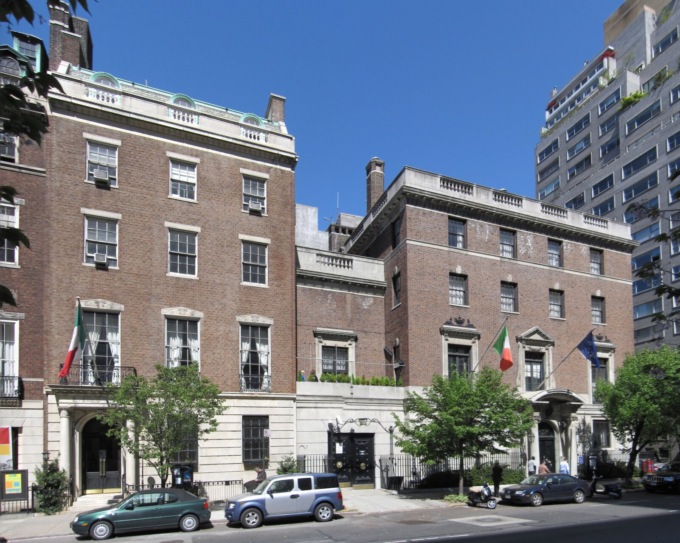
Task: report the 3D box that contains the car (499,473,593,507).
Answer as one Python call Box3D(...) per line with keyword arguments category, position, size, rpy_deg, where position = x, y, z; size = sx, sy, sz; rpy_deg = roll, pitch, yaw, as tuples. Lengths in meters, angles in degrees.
Box3D(category="car", position=(11.801, 12.352, 62.962), size=(4.723, 1.845, 0.977), rpy_deg=(4, -19, -19))

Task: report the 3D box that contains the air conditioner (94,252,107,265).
Box3D(category="air conditioner", position=(-13.586, -0.796, 63.311), size=(0.816, 0.672, 0.344), rpy_deg=(6, -20, -24))

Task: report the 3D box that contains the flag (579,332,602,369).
Box3D(category="flag", position=(16.628, 5.199, 74.167), size=(0.466, 1.329, 3.144), rpy_deg=(-15, -63, -4))

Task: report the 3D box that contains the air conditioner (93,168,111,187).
Box3D(category="air conditioner", position=(-13.739, -5.427, 63.858), size=(0.941, 0.873, 0.488), rpy_deg=(8, -26, -38))

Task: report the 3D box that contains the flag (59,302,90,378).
Box3D(category="flag", position=(-14.700, 3.683, 61.742), size=(1.259, 4.449, 1.609), rpy_deg=(14, -24, -40))

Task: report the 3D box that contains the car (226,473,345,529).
Box3D(category="car", position=(-2.736, 11.926, 58.295), size=(6.349, 2.580, 2.691), rpy_deg=(3, -11, -18))

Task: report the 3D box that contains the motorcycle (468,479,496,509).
Box3D(category="motorcycle", position=(7.969, 12.578, 62.307), size=(1.006, 1.450, 1.919), rpy_deg=(5, -20, -20))
